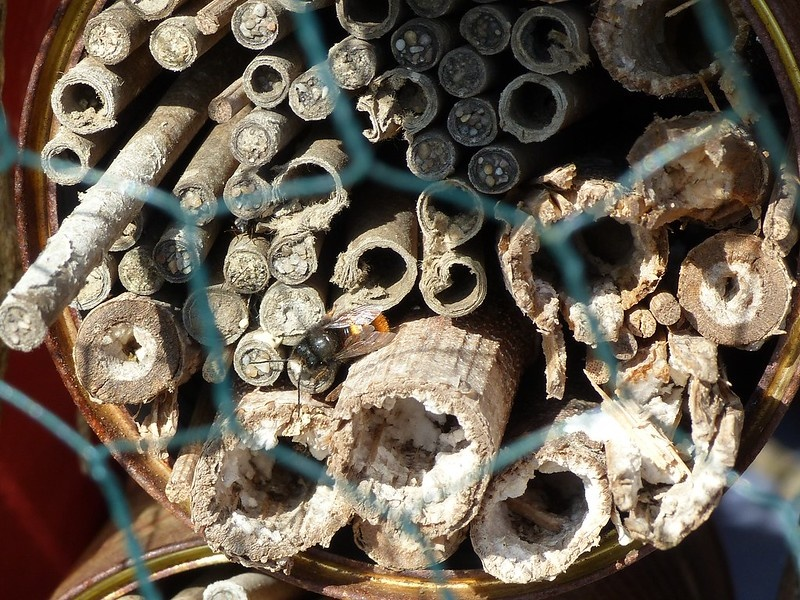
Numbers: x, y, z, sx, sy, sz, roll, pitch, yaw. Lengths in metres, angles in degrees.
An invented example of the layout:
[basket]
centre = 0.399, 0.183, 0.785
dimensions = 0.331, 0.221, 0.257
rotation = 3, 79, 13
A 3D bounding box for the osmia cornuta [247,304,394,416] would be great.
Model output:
[osmia cornuta]
centre = -0.223, 0.183, 3.534
dimensions = 0.416, 0.160, 0.299
rotation = -19, 36, -18
